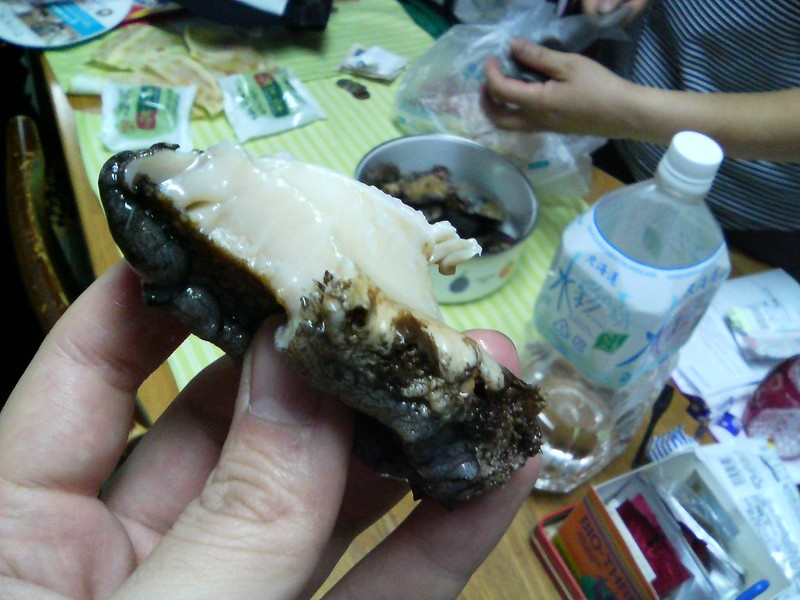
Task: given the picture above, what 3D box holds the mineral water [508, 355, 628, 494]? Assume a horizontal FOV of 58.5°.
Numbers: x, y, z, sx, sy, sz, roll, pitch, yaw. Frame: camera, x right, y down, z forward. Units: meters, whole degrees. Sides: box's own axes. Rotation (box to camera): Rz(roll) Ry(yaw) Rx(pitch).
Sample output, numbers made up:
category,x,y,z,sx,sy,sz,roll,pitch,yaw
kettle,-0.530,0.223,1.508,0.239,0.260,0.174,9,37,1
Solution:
category,x,y,z,sx,sy,sz,roll,pitch,yaw
mineral water,0.424,0.359,1.826,0.221,0.115,0.346,1,68,-2
